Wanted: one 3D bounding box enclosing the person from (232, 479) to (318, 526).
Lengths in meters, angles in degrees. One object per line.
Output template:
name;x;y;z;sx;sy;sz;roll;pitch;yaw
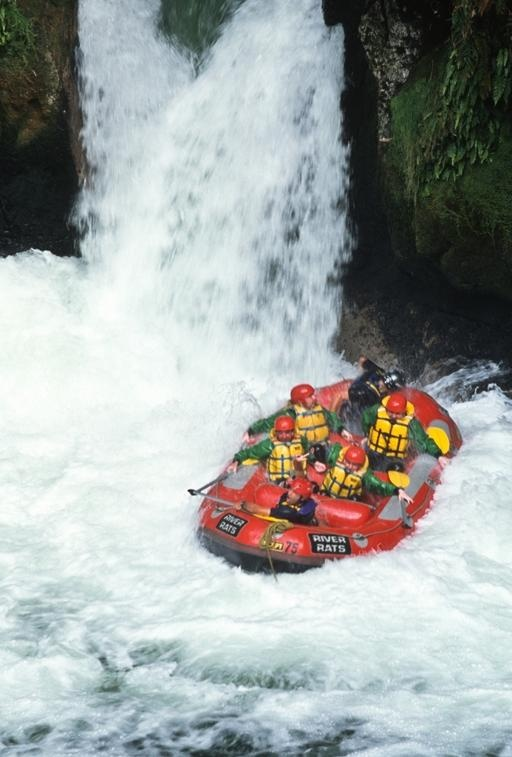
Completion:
person;0.415;1.502;10.384;0.735;0.294;0.517;-13;27;-43

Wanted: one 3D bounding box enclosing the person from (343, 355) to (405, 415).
person;1.825;0.101;13.418;0.409;0.911;0.424;17;50;-40

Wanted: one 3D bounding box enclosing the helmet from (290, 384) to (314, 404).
helmet;0.594;0.220;12.119;0.317;0.179;0.240;-7;19;27

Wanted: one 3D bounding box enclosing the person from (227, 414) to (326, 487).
person;0.311;0.967;11.541;0.936;0.899;0.247;-6;32;-12

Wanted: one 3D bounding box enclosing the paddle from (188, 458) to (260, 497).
paddle;-0.359;1.283;11.189;0.822;0.179;0.415;-30;31;-31

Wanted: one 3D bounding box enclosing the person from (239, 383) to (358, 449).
person;0.703;0.552;12.339;1.074;0.526;1.004;-10;31;-17

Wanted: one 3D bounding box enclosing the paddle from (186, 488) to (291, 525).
paddle;-0.163;1.536;10.583;1.534;0.155;0.262;12;64;33

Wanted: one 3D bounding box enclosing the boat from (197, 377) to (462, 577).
boat;1.195;1.391;10.846;1.937;0.599;3.074;9;27;34

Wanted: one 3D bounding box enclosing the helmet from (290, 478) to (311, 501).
helmet;0.533;1.314;10.571;0.265;0.199;0.189;33;18;-2
